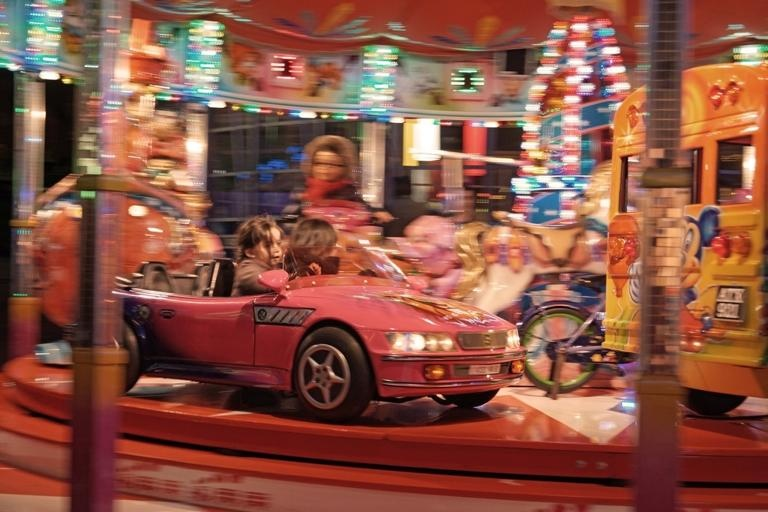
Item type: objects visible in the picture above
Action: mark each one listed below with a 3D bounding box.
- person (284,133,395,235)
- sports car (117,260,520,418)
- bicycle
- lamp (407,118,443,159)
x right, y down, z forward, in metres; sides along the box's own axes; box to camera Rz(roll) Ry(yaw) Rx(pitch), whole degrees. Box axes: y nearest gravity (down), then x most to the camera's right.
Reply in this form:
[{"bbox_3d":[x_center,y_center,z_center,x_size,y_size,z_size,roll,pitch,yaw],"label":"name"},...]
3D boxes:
[{"bbox_3d":[-0.367,-0.626,6.847,0.867,0.894,0.265,6,5,26],"label":"person"},{"bbox_3d":[-0.637,0.590,5.545,2.463,0.600,1.327,-2,-3,30],"label":"sports car"},{"bbox_3d":[1.482,0.633,6.343,0.711,0.978,0.620,4,5,9],"label":"bicycle"},{"bbox_3d":[0.372,-1.083,7.028,0.318,0.424,0.364,4,4,1],"label":"lamp"}]
